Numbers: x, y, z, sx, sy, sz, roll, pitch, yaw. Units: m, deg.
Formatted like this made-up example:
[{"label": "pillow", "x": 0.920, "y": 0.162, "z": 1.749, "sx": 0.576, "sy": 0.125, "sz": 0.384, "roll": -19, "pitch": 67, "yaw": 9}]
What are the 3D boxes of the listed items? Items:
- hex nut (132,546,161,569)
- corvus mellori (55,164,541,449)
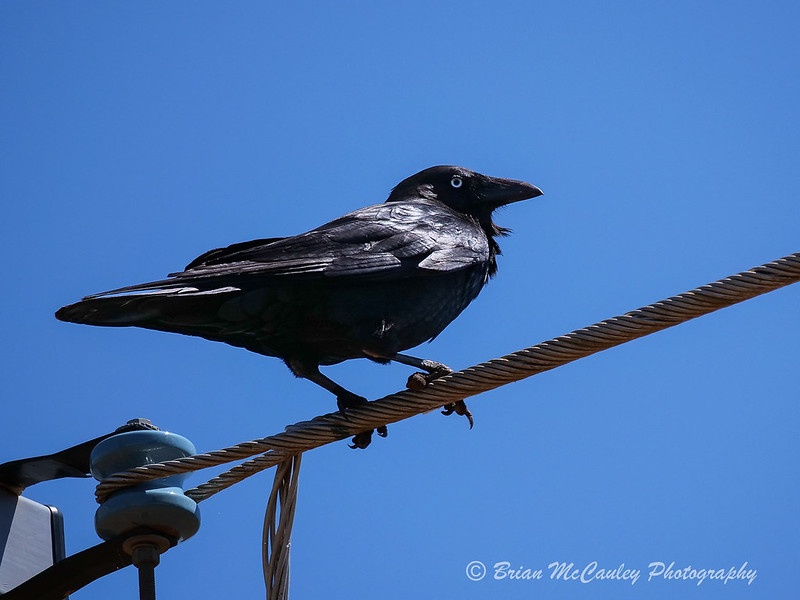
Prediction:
[{"label": "hex nut", "x": -1.223, "y": 1.232, "z": 9.509, "sx": 0.132, "sy": 0.111, "sz": 0.077, "roll": -2, "pitch": -11, "yaw": -6}, {"label": "corvus mellori", "x": -0.536, "y": -0.148, "z": 10.162, "sx": 2.500, "sy": 1.145, "sz": 0.753, "roll": 2, "pitch": -14, "yaw": -22}]
